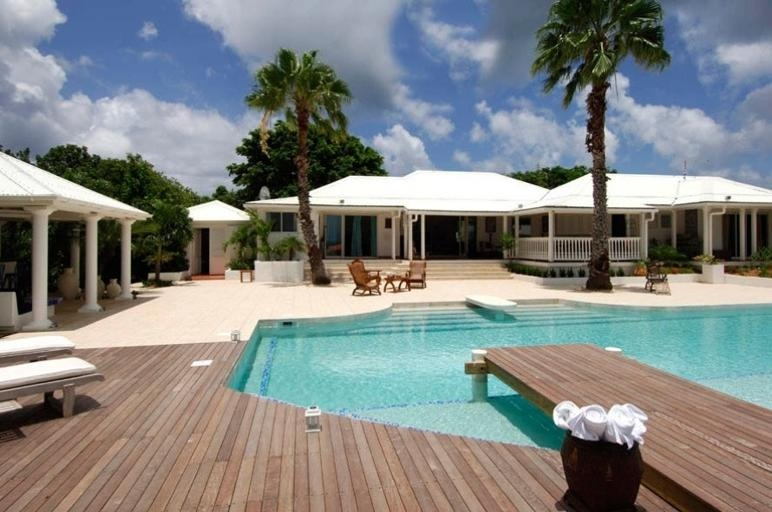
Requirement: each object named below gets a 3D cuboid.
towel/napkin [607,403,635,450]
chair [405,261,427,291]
[{"bbox_3d":[3.402,2.453,6.935,0.403,0.573,0.212,0,-39,8],"label":"towel/napkin"},{"bbox_3d":[1.361,0.884,21.445,1.059,1.570,1.278,0,1,10],"label":"chair"}]
